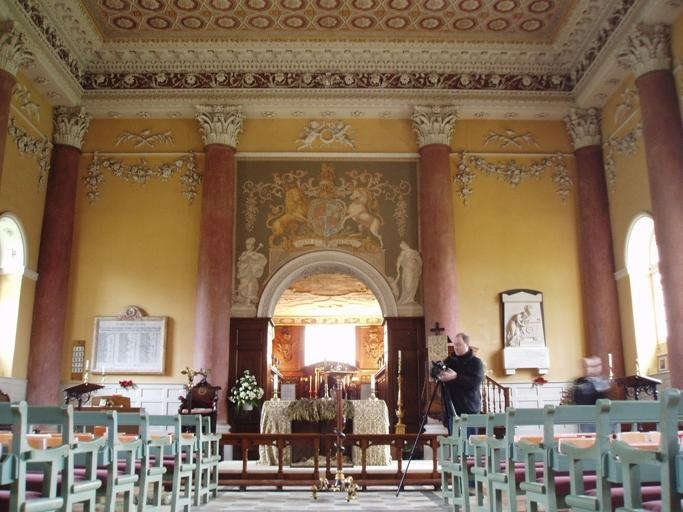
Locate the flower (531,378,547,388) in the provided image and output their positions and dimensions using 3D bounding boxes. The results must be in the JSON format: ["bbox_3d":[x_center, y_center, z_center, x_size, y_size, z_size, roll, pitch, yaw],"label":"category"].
[{"bbox_3d":[4.362,2.757,12.186,0.354,0.243,0.259,-2,-15,5],"label":"flower"}]

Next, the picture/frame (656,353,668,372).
[{"bbox_3d":[6.408,2.111,11.117,0.136,0.338,0.489,-6,-15,20],"label":"picture/frame"}]

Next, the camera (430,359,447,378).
[{"bbox_3d":[1.239,1.446,7.047,0.196,0.198,0.171,-3,-15,8],"label":"camera"}]

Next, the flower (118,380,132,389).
[{"bbox_3d":[-4.679,2.809,12.186,0.328,0.229,0.225,4,-15,-17],"label":"flower"}]

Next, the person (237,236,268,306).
[{"bbox_3d":[-2.067,0.379,12.868,0.691,1.566,0.158,2,-15,-10],"label":"person"}]

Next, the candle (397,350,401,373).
[{"bbox_3d":[1.298,2.336,12.373,0.080,0.476,0.210,-4,-15,13],"label":"candle"}]

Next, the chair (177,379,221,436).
[{"bbox_3d":[-2.815,3.063,11.183,0.800,1.121,0.630,1,-8,-11],"label":"chair"}]

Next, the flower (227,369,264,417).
[{"bbox_3d":[-2.033,2.926,11.899,0.796,1.070,0.831,-3,-7,10],"label":"flower"}]

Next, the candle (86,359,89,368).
[{"bbox_3d":[-5.610,2.394,12.347,0.038,0.178,0.047,3,-8,-7],"label":"candle"}]

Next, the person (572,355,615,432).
[{"bbox_3d":[3.412,2.062,7.852,0.562,1.114,0.350,23,-23,-1],"label":"person"}]
